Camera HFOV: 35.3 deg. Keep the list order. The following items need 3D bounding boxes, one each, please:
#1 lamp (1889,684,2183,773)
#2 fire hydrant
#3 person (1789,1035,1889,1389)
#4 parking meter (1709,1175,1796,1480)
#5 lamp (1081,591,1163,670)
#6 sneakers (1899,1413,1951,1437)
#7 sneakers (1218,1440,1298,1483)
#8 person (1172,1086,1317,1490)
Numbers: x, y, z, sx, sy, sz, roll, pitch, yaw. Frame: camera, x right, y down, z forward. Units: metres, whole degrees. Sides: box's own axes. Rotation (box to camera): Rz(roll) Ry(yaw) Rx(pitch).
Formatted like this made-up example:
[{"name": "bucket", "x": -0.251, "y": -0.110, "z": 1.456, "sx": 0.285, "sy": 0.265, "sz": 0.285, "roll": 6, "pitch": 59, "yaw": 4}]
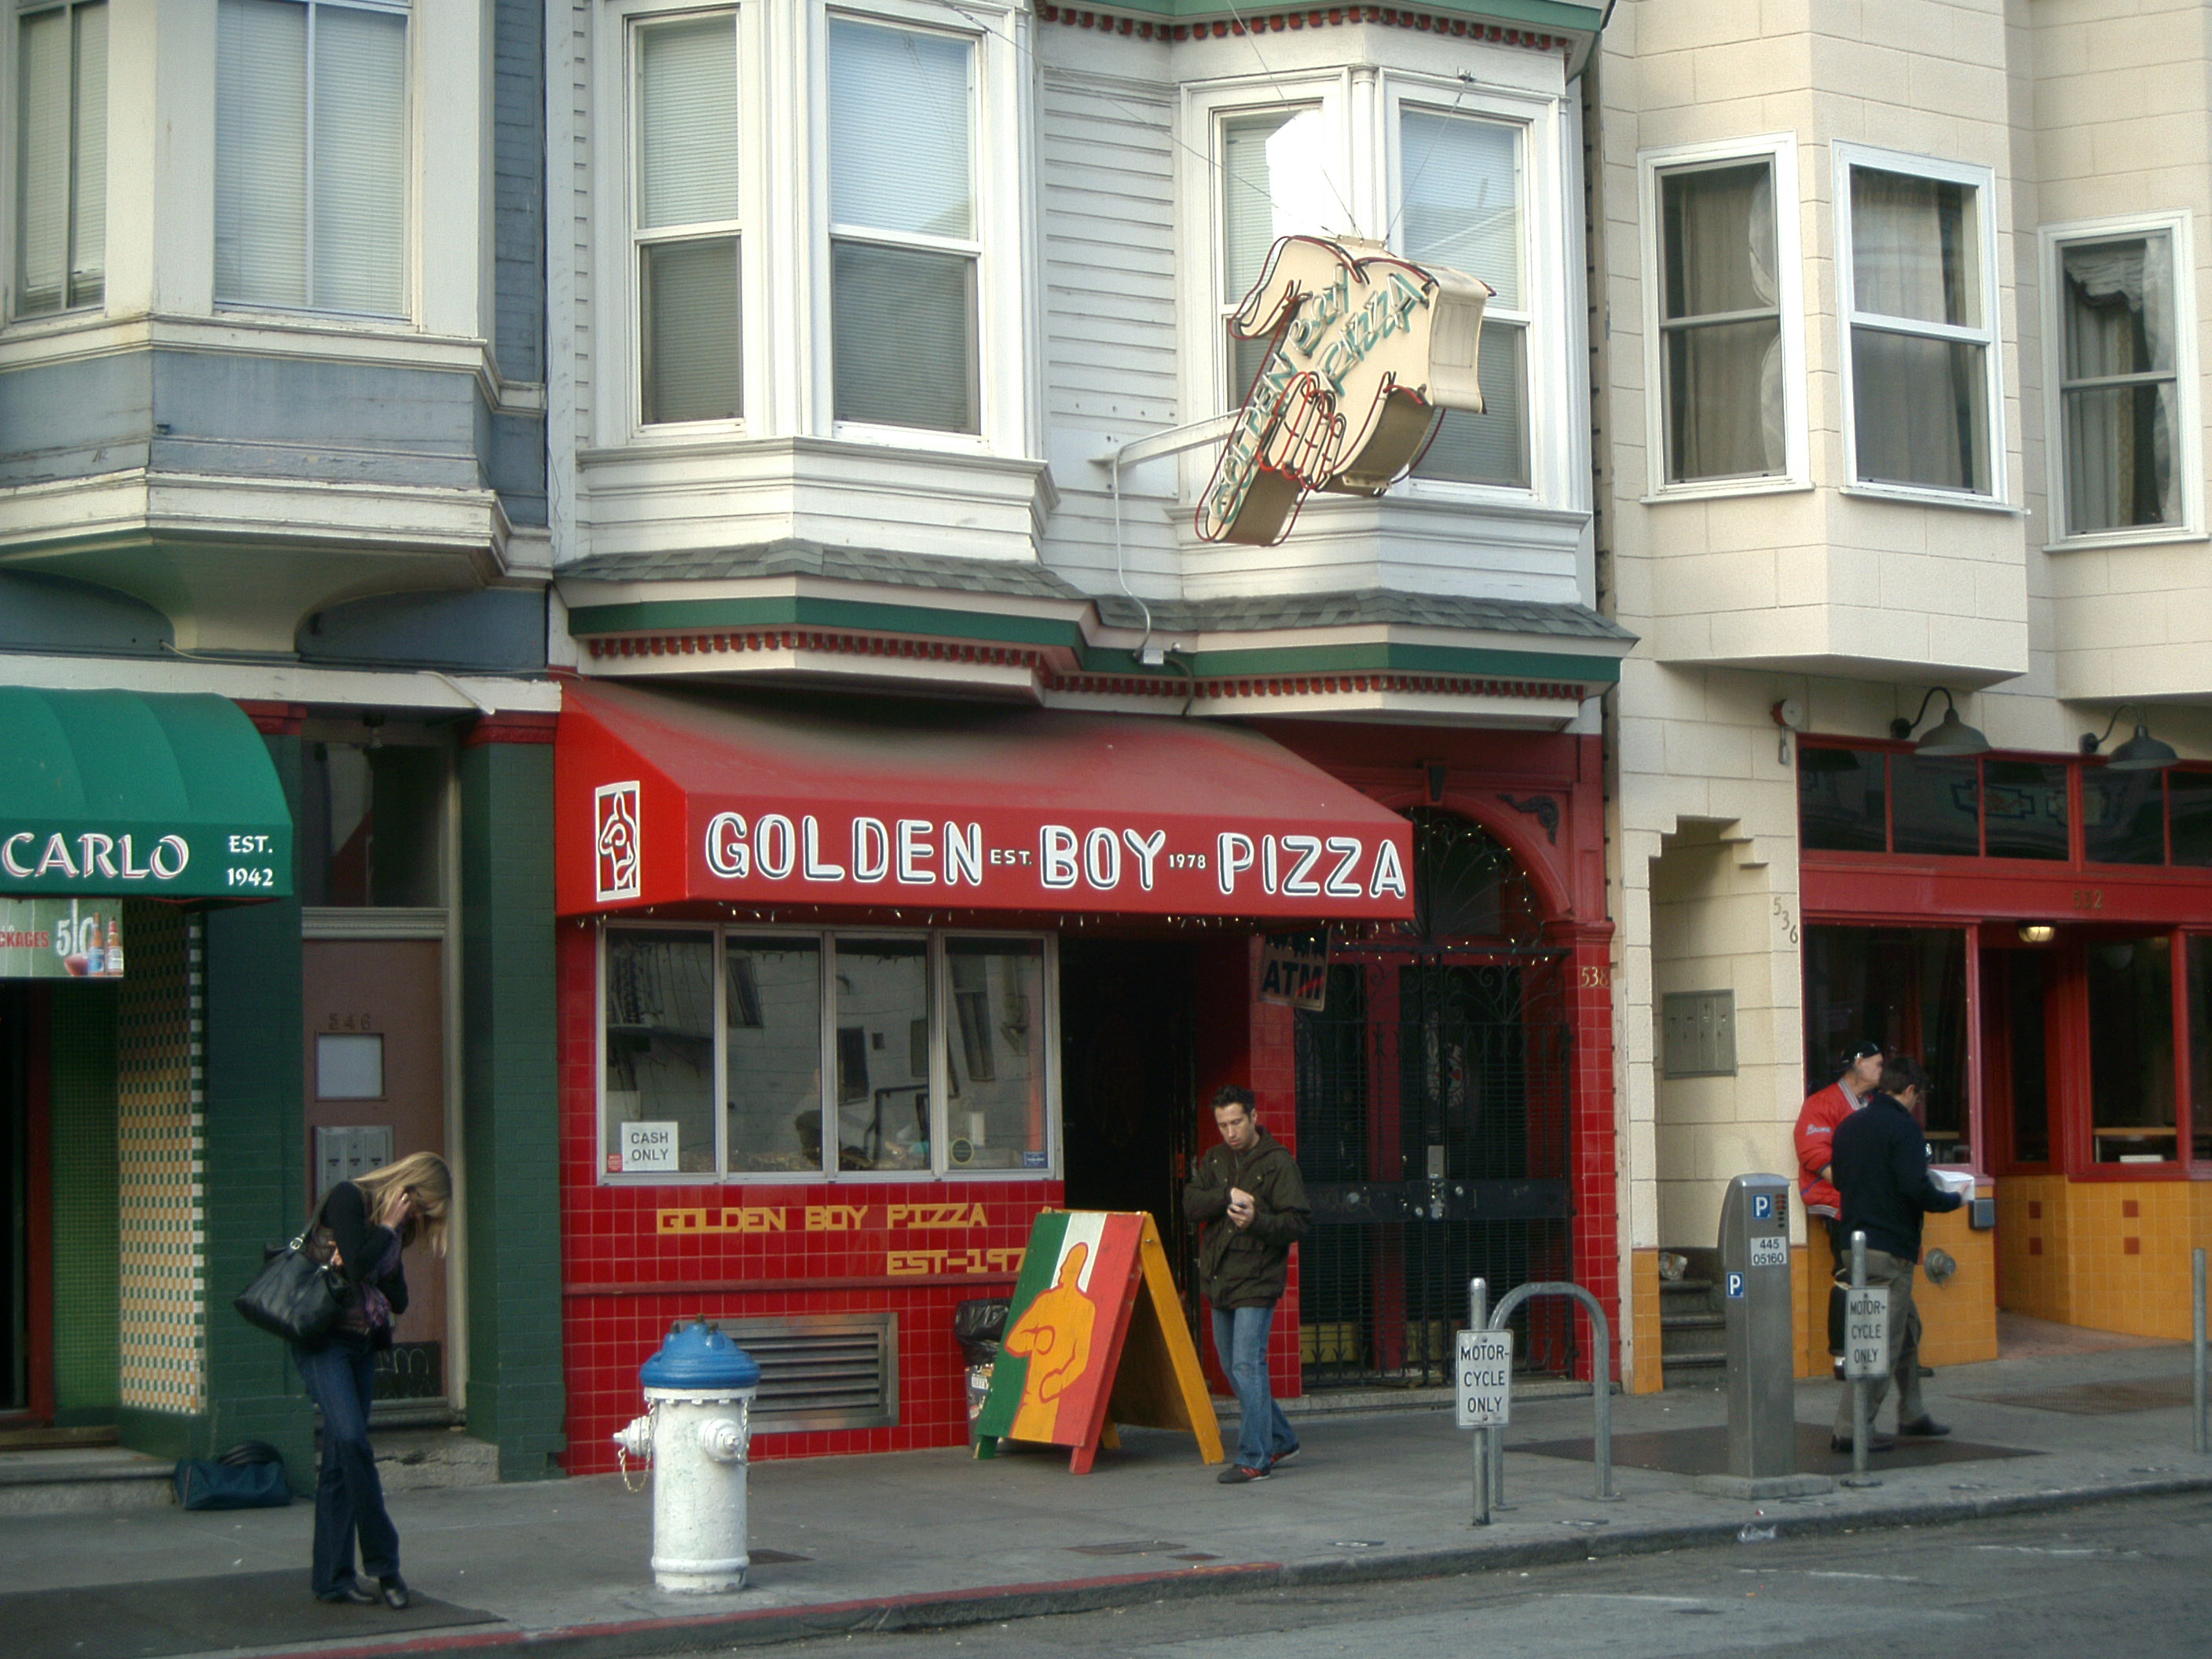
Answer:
[{"name": "lamp", "x": 7.046, "y": -0.751, "z": 26.151, "sx": 2.508, "sy": 0.629, "sz": 0.840, "roll": 0, "pitch": -5, "yaw": -26}, {"name": "fire hydrant", "x": -2.130, "y": 3.298, "z": 18.271, "sx": 0.766, "sy": 1.388, "sz": 0.638, "roll": -4, "pitch": -2, "yaw": 38}, {"name": "person", "x": 5.362, "y": 2.712, "z": 24.833, "sx": 0.899, "sy": 2.315, "sz": 0.752, "roll": 1, "pitch": -5, "yaw": -26}, {"name": "parking meter", "x": 3.834, "y": 2.942, "z": 20.667, "sx": 0.409, "sy": 1.638, "sz": 0.555, "roll": 1, "pitch": -1, "yaw": -3}, {"name": "lamp", "x": 0.175, "y": -1.341, "z": 23.617, "sx": 0.467, "sy": 0.465, "sz": 0.114, "roll": 11, "pitch": -26, "yaw": -35}, {"name": "sneakers", "x": 5.206, "y": 3.795, "z": 22.133, "sx": 0.251, "sy": 0.117, "sz": 0.144, "roll": -1, "pitch": -1, "yaw": -11}, {"name": "sneakers", "x": 0.935, "y": 3.869, "z": 21.174, "sx": 0.543, "sy": 0.224, "sz": 0.176, "roll": 5, "pitch": -11, "yaw": -37}, {"name": "person", "x": 0.895, "y": 2.768, "z": 21.269, "sx": 0.819, "sy": 2.205, "sz": 0.670, "roll": 2, "pitch": -3, "yaw": -41}]
